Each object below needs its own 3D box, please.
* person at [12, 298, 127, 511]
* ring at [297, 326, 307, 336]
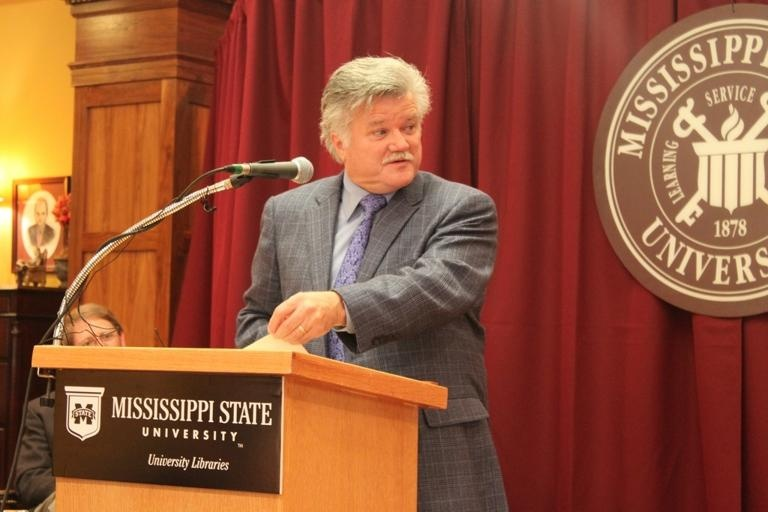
[{"bbox_3d":[-1.311,0.610,3.964,0.432,0.912,1.312,3,-7,-15],"label":"person"},{"bbox_3d":[-0.245,0.221,2.866,0.019,0.028,0.008,-3,5,4],"label":"ring"}]
